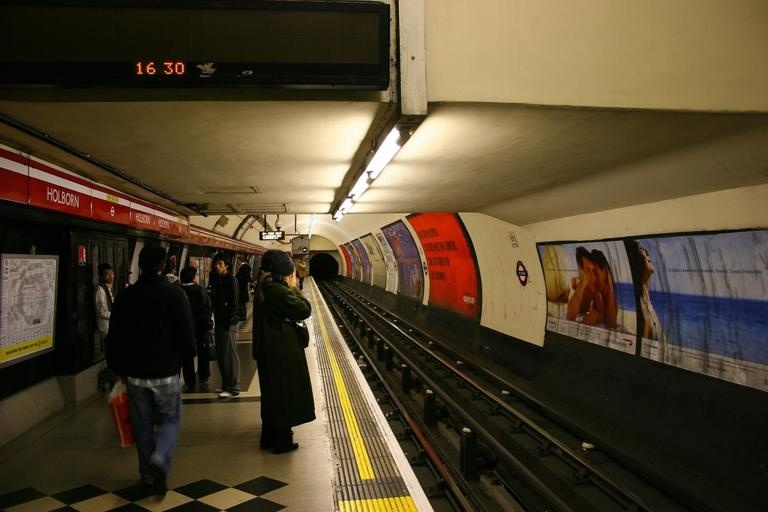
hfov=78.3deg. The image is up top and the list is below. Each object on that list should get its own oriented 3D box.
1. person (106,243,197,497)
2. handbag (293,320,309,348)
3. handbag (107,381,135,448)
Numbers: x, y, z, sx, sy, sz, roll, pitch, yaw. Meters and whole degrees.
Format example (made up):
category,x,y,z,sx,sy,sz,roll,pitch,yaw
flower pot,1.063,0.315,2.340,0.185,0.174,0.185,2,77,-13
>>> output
category,x,y,z,sx,sy,sz,roll,pitch,yaw
person,-2.606,1.226,5.334,0.822,2.707,0.617,5,6,22
handbag,-1.053,0.997,6.079,0.121,0.337,0.268,-3,4,1
handbag,-2.906,1.743,5.205,0.217,0.761,0.279,-1,7,-31
